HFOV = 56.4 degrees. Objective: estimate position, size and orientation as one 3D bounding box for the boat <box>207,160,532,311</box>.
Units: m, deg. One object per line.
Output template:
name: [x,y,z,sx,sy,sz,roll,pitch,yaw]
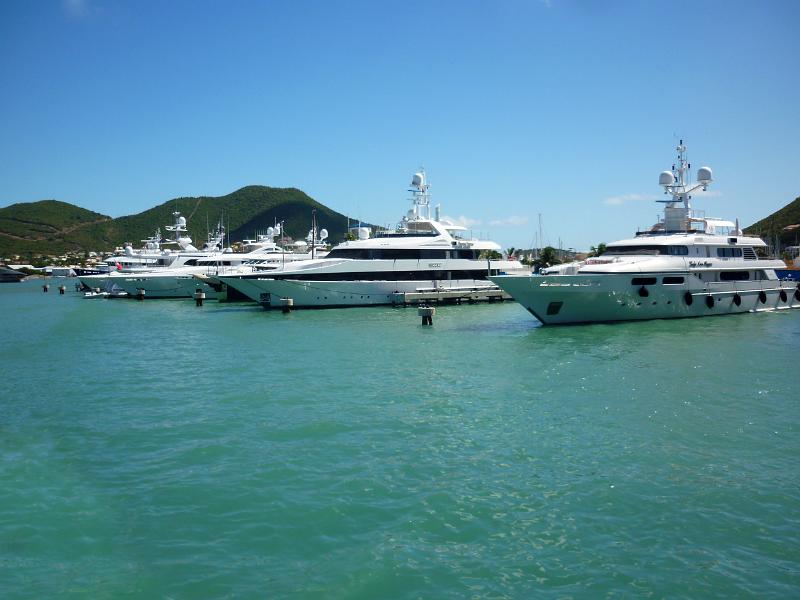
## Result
boat: [-1.435,-4.877,60.955,25.784,10.723,11.518,-2,1,-41]
